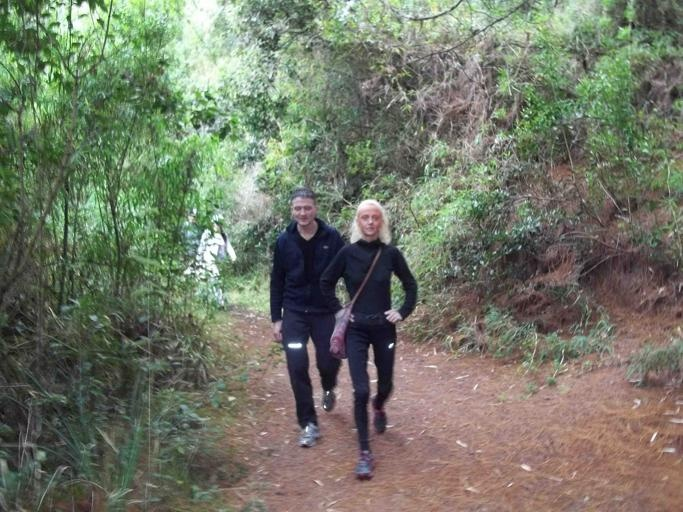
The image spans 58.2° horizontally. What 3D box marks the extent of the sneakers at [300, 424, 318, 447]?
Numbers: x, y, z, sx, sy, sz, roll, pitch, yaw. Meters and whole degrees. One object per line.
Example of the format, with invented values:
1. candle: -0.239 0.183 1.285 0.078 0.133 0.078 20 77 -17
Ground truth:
1. sneakers: -0.335 1.870 6.391 0.196 0.212 0.123 -4 11 -14

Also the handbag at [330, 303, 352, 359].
1. handbag: -0.012 0.785 6.172 0.215 0.641 0.310 -3 10 -9

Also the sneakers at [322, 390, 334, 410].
1. sneakers: -0.150 1.696 7.155 0.085 0.290 0.185 0 -22 -2

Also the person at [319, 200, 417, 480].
1. person: 0.255 0.740 6.153 0.947 2.543 0.800 -11 14 -44

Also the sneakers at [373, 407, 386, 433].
1. sneakers: 0.412 1.759 6.677 0.088 0.310 0.111 -1 -4 8
